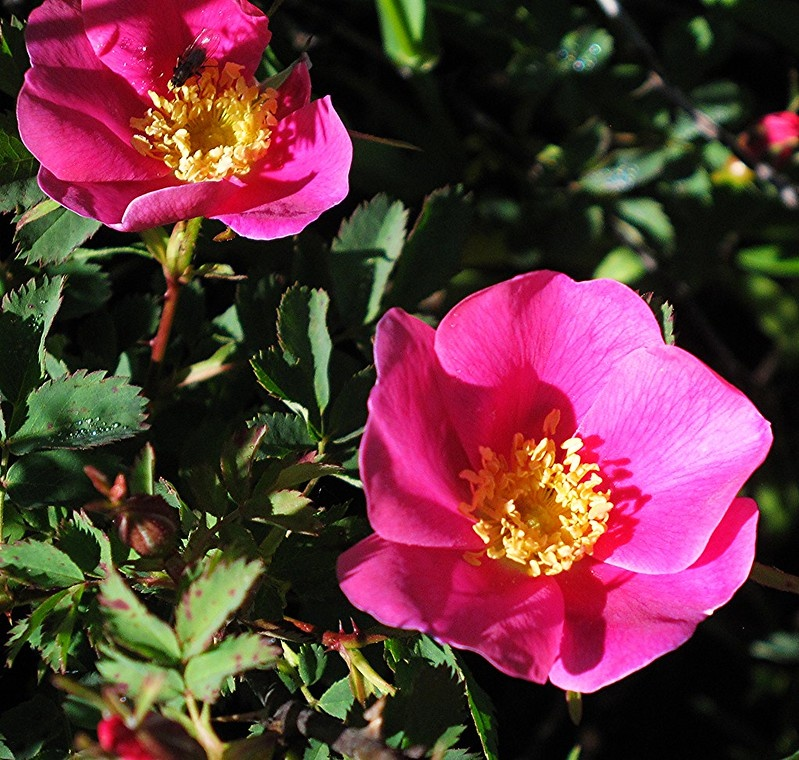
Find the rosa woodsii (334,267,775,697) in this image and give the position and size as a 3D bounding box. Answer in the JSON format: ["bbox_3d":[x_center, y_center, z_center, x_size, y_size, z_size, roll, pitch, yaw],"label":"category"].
[{"bbox_3d":[0.159,0.088,0.865,0.409,0.239,0.428,15,80,10],"label":"rosa woodsii"}]
